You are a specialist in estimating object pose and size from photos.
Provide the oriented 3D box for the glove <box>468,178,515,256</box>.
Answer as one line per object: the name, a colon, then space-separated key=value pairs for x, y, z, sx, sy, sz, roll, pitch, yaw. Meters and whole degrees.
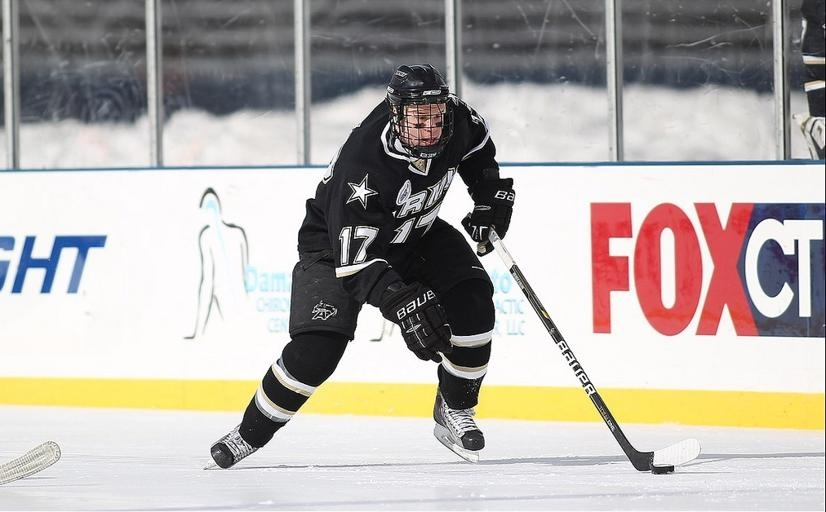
glove: x=0.472 y=-0.198 z=6.802 sx=0.271 sy=0.416 sz=0.120 roll=18 pitch=-5 yaw=26

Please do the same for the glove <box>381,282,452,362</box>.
glove: x=0.018 y=0.326 z=6.478 sx=0.300 sy=0.456 sz=0.156 roll=-35 pitch=8 yaw=-4

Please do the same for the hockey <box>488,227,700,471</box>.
hockey: x=1.163 y=0.583 z=7.342 sx=0.286 sy=1.615 sz=0.268 roll=-48 pitch=-29 yaw=24
